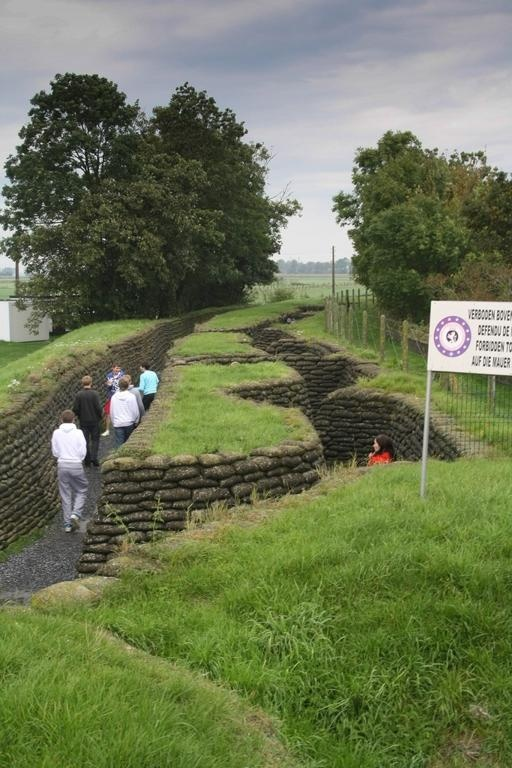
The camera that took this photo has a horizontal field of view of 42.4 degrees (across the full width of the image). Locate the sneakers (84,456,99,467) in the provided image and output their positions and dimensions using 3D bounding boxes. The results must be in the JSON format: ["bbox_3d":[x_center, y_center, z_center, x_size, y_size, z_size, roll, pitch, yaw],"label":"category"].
[{"bbox_3d":[-3.394,1.631,13.819,0.392,0.277,0.133,-3,10,-17],"label":"sneakers"}]

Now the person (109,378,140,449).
[{"bbox_3d":[-2.409,0.610,12.218,0.531,1.484,0.460,0,17,-4],"label":"person"}]

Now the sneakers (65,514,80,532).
[{"bbox_3d":[-2.936,2.234,10.535,0.170,0.213,0.468,2,-39,-8],"label":"sneakers"}]
